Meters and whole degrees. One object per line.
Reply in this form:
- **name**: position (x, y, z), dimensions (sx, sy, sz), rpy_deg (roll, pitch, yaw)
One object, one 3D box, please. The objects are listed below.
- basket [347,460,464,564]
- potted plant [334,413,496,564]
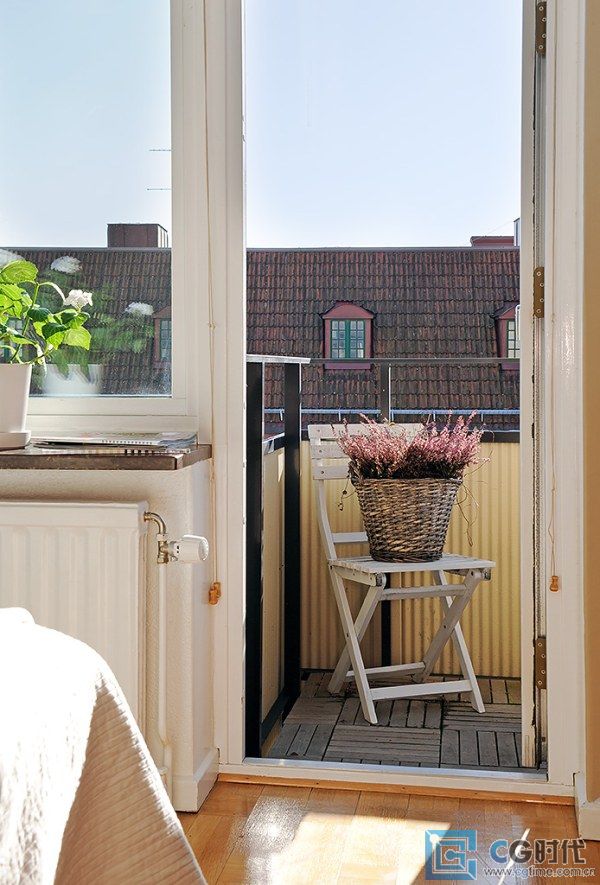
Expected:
- **basket**: position (0.325, 0.196, 2.529), dimensions (0.248, 0.218, 0.269), rpy_deg (0, -3, -2)
- **potted plant**: position (0.317, 0.149, 2.628), dimensions (0.366, 0.419, 0.354), rpy_deg (1, -3, -14)
